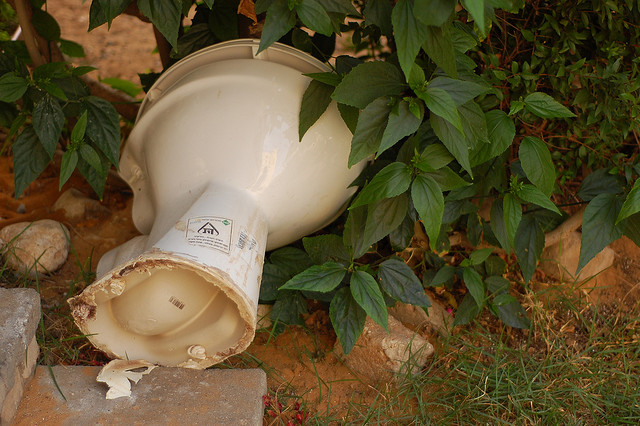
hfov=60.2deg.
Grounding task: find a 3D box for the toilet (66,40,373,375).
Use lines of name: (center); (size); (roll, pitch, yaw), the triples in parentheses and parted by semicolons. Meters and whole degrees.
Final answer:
toilet: (-0.394, -0.113, 2.509); (0.923, 0.864, 1.596); (14, 49, 25)
